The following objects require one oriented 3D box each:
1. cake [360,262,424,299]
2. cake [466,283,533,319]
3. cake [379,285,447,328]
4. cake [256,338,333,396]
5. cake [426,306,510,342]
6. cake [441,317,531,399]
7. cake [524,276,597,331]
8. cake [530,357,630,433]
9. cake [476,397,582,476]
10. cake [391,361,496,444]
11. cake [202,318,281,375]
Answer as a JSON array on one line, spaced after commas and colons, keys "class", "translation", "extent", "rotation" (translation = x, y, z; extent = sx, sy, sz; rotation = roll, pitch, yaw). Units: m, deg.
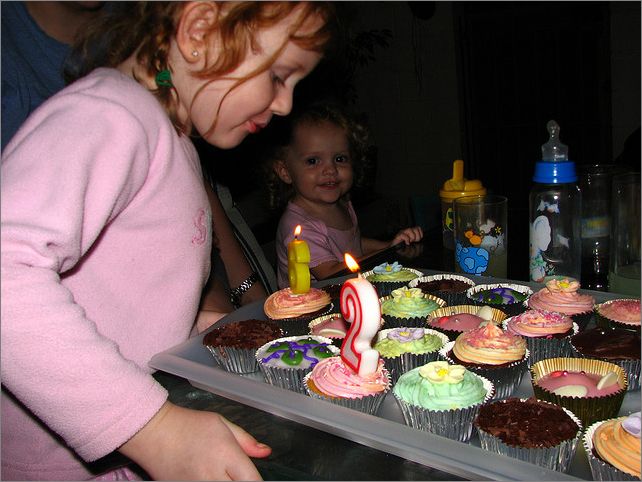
[{"class": "cake", "translation": [0.354, 0.178, 2.454], "extent": [0.218, 0.136, 0.210], "rotation": [-1, 3, 4]}, {"class": "cake", "translation": [0.780, 0.247, 2.170], "extent": [0.183, 0.058, 0.180], "rotation": [3, 15, 19]}, {"class": "cake", "translation": [0.387, 0.267, 2.251], "extent": [0.220, 0.138, 0.211], "rotation": [-3, 5, -3]}, {"class": "cake", "translation": [-0.101, 0.432, 1.839], "extent": [0.214, 0.102, 0.211], "rotation": [4, 9, 19]}, {"class": "cake", "translation": [0.575, 0.330, 2.063], "extent": [0.206, 0.066, 0.208], "rotation": [-10, 9, -34]}, {"class": "cake", "translation": [0.606, 0.387, 1.868], "extent": [0.290, 0.238, 0.288], "rotation": [7, 12, 40]}, {"class": "cake", "translation": [0.990, 0.242, 2.052], "extent": [0.234, 0.190, 0.231], "rotation": [0, 0, 6]}, {"class": "cake", "translation": [0.883, 0.489, 1.655], "extent": [0.233, 0.110, 0.232], "rotation": [-8, 6, -7]}, {"class": "cake", "translation": [0.605, 0.581, 1.444], "extent": [0.275, 0.173, 0.161], "rotation": [-2, 13, 24]}, {"class": "cake", "translation": [0.403, 0.493, 1.622], "extent": [0.283, 0.179, 0.273], "rotation": [-3, 6, -34]}, {"class": "cake", "translation": [-0.315, 0.399, 1.974], "extent": [0.231, 0.105, 0.220], "rotation": [-2, 10, 4]}]
